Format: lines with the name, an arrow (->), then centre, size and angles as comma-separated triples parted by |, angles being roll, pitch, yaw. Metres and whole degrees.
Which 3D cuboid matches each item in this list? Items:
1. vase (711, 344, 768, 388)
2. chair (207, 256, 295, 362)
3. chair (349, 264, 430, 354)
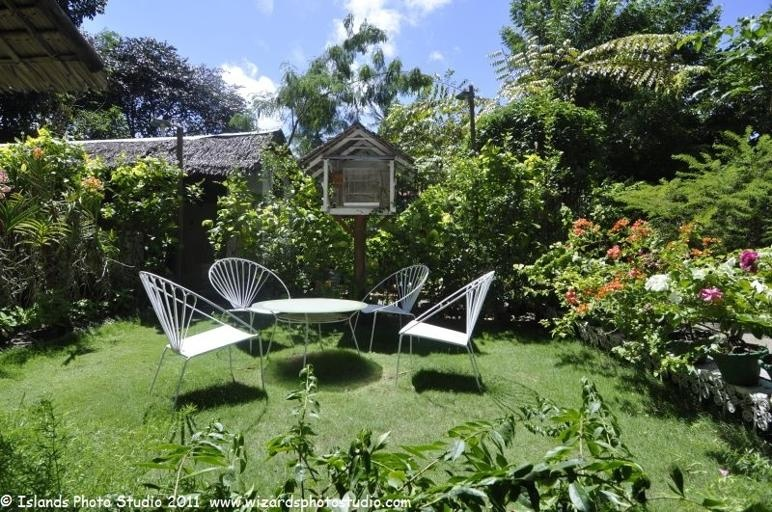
vase -> 3.674, 1.155, 5.939 | 0.436, 0.286, 0.445 | -1, -6, 12
chair -> -2.190, 0.811, 8.188 | 1.049, 1.307, 1.025 | -11, 14, 31
chair -> 0.065, 0.781, 8.332 | 0.948, 1.310, 0.986 | -1, 12, -22
